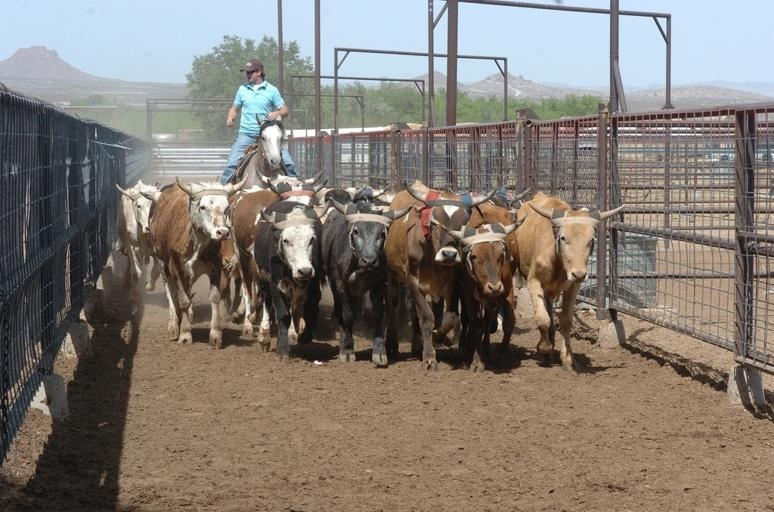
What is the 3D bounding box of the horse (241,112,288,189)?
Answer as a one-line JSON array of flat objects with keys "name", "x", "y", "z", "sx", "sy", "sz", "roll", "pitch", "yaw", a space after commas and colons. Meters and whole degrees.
[{"name": "horse", "x": -2.126, "y": -1.939, "z": 13.140, "sx": 0.717, "sy": 1.457, "sz": 2.425, "roll": -7, "pitch": 19, "yaw": -12}]
